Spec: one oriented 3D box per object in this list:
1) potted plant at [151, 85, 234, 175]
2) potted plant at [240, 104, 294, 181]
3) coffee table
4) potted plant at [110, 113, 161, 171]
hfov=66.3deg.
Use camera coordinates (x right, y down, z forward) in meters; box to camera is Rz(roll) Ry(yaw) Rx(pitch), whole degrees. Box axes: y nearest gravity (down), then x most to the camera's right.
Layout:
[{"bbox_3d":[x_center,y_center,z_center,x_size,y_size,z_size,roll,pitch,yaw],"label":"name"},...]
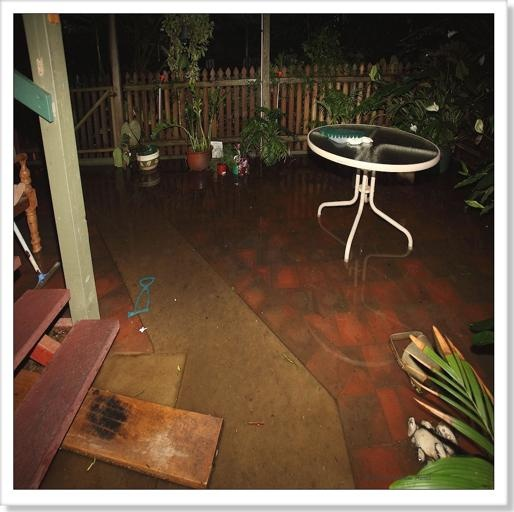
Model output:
[{"bbox_3d":[-0.994,-2.249,7.081,1.232,1.726,1.381,28,43,34],"label":"potted plant"},{"bbox_3d":[0.221,-2.051,6.915,0.668,1.038,0.807,-8,10,-40],"label":"potted plant"},{"bbox_3d":[1.221,-0.718,4.437,0.996,0.876,1.015,25,32,36],"label":"coffee table"},{"bbox_3d":[-2.048,-1.886,6.762,0.688,0.864,0.741,-15,23,-27],"label":"potted plant"}]
